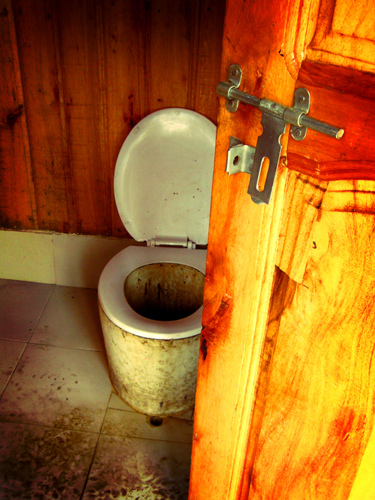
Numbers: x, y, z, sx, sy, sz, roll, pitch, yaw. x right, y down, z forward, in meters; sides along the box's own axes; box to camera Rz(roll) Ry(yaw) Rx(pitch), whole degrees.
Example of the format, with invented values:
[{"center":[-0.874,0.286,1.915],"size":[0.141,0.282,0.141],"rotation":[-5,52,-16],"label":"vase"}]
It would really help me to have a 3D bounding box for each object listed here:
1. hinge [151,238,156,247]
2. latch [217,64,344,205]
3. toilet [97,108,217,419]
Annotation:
[{"center":[-0.118,-0.029,1.489],"size":[0.020,0.041,0.023],"rotation":[1,51,2],"label":"hinge"},{"center":[0.074,-0.105,0.420],"size":[0.038,0.134,0.177],"rotation":[-1,22,-22],"label":"latch"},{"center":[-0.098,0.065,1.341],"size":[0.335,0.959,0.481],"rotation":[5,19,-5],"label":"toilet"}]
